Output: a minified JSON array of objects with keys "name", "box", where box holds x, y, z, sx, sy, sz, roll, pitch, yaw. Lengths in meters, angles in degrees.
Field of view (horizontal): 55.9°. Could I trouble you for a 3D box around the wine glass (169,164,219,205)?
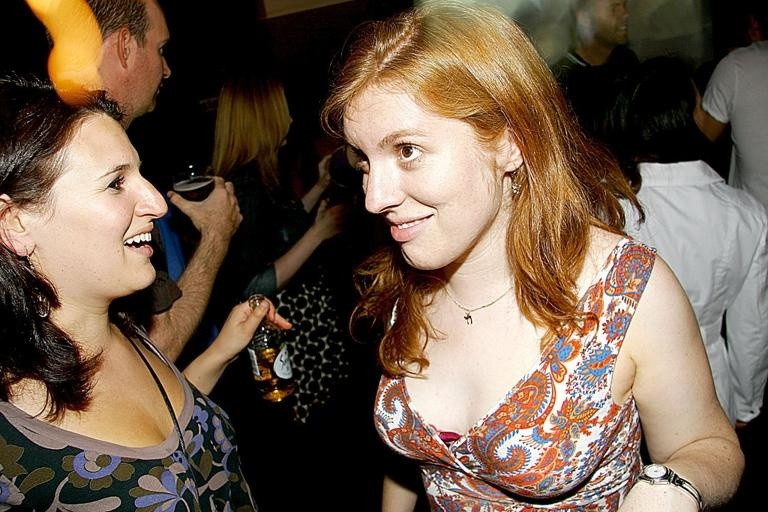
[{"name":"wine glass","box":[-1.032,-0.376,3.930,0.199,0.145,0.206,-9,33,9]}]
